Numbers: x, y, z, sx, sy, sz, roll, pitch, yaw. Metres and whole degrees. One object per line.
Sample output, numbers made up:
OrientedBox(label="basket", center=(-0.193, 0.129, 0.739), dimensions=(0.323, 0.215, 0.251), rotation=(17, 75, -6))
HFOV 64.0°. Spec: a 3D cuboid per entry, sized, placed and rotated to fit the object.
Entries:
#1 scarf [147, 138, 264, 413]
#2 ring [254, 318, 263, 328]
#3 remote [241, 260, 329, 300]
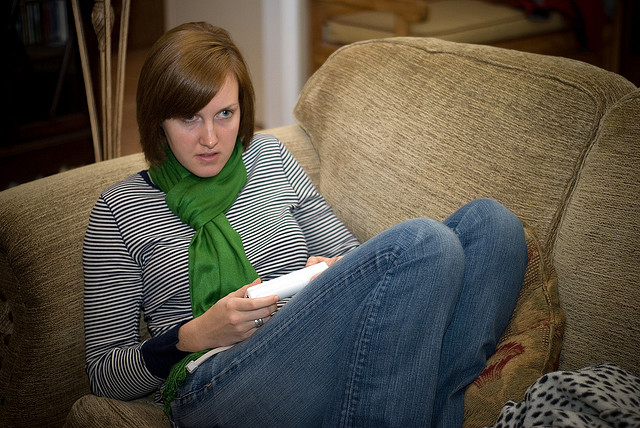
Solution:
OrientedBox(label="scarf", center=(-0.361, 0.184, 1.620), dimensions=(0.352, 0.181, 0.756), rotation=(-5, 78, -23))
OrientedBox(label="ring", center=(-0.160, 0.284, 1.339), dimensions=(0.016, 0.024, 0.022), rotation=(34, 71, 2))
OrientedBox(label="remote", center=(-0.099, 0.181, 1.383), dimensions=(0.179, 0.051, 0.047), rotation=(-21, 32, -17))
